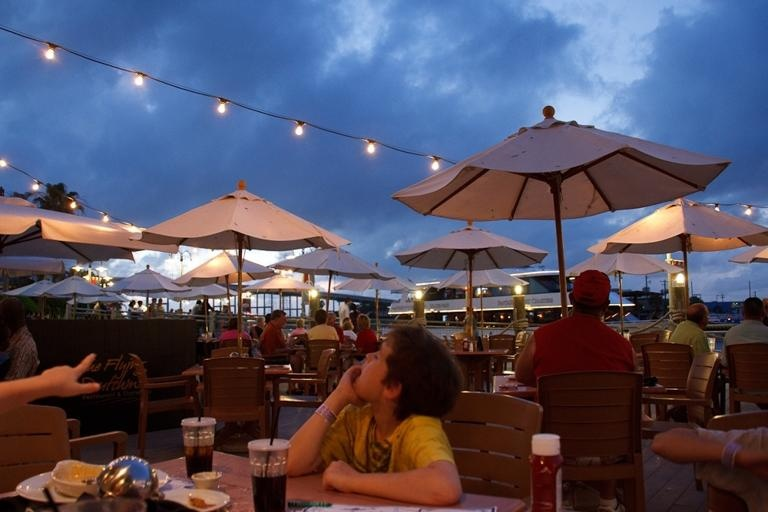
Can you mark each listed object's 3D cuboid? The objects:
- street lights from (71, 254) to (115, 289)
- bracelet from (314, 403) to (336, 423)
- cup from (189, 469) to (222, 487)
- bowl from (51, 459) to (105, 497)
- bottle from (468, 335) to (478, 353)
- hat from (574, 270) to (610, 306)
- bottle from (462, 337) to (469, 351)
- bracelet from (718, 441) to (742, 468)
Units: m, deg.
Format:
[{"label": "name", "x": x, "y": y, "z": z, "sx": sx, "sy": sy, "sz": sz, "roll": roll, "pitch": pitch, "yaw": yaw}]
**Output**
[{"label": "street lights", "x": -9.700, "y": 0.623, "z": 19.134, "sx": 0.946, "sy": 1.347, "sz": 0.961, "roll": -6, "pitch": -11, "yaw": 19}, {"label": "bracelet", "x": -0.360, "y": 0.980, "z": 3.657, "sx": 0.118, "sy": 0.081, "sz": 0.119, "roll": -31, "pitch": 7, "yaw": -3}, {"label": "cup", "x": -0.987, "y": 1.210, "z": 3.193, "sx": 0.115, "sy": 0.056, "sz": 0.115, "roll": 1, "pitch": -14, "yaw": 0}, {"label": "bowl", "x": -1.601, "y": 1.159, "z": 3.007, "sx": 0.242, "sy": 0.089, "sz": 0.187, "roll": 6, "pitch": 13, "yaw": 10}, {"label": "bottle", "x": 1.425, "y": 1.433, "z": 9.404, "sx": 0.197, "sy": 0.285, "sz": 0.197, "roll": 0, "pitch": -7, "yaw": 0}, {"label": "hat", "x": 1.846, "y": 0.296, "z": 5.127, "sx": 0.297, "sy": 0.225, "sz": 0.487, "roll": 10, "pitch": 15, "yaw": 21}, {"label": "bottle", "x": 1.345, "y": 1.450, "z": 9.421, "sx": 0.134, "sy": 0.247, "sz": 0.135, "roll": 0, "pitch": -9, "yaw": 0}, {"label": "bracelet", "x": 1.879, "y": 1.076, "z": 3.132, "sx": 0.045, "sy": 0.128, "sz": 0.091, "roll": 7, "pitch": 4, "yaw": 30}]
